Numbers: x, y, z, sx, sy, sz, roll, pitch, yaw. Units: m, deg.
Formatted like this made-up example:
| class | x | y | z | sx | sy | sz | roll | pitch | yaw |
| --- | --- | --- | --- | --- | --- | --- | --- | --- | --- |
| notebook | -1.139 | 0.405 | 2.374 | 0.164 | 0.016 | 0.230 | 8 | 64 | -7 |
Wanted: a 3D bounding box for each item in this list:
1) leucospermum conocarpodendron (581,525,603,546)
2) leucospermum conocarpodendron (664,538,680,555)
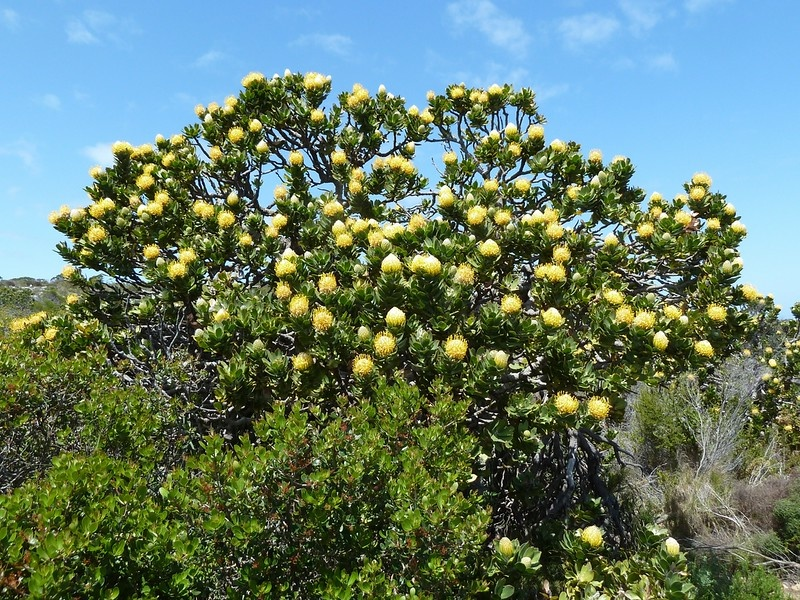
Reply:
| class | x | y | z | sx | sy | sz | roll | pitch | yaw |
| --- | --- | --- | --- | --- | --- | --- | --- | --- | --- |
| leucospermum conocarpodendron | 1.742 | 2.148 | 6.343 | 0.189 | 0.201 | 0.213 | 3 | -25 | 18 |
| leucospermum conocarpodendron | 2.381 | 2.165 | 6.127 | 0.122 | 0.174 | 0.241 | 1 | -26 | 22 |
